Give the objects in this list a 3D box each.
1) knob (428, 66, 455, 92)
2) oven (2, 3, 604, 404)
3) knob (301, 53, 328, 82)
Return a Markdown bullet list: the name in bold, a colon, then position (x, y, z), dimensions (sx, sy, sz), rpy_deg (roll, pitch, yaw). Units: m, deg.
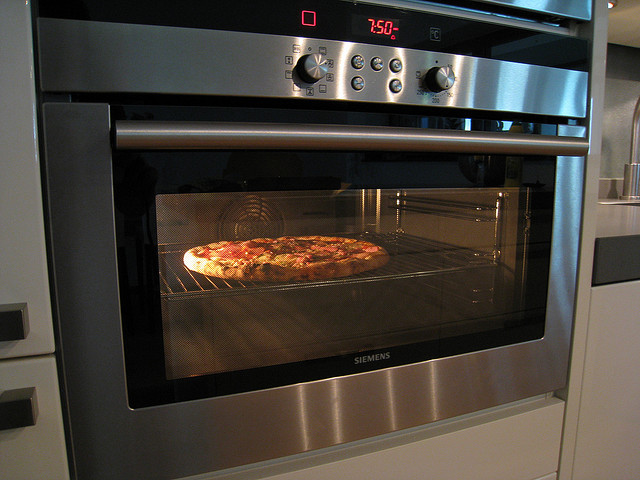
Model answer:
- **knob**: position (0.241, -0.319, 1.099), dimensions (0.047, 0.047, 0.043), rpy_deg (-4, 7, -28)
- **oven**: position (-0.063, -0.085, 1.078), dimensions (0.813, 0.695, 0.451), rpy_deg (-4, 10, -23)
- **knob**: position (-0.013, -0.323, 1.033), dimensions (0.043, 0.041, 0.023), rpy_deg (-25, 8, -37)
